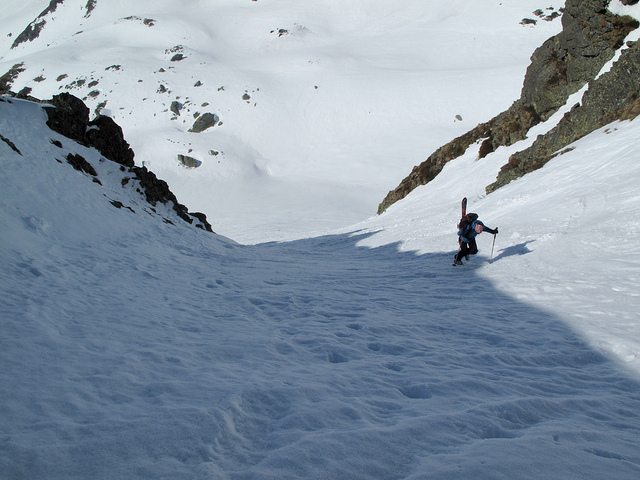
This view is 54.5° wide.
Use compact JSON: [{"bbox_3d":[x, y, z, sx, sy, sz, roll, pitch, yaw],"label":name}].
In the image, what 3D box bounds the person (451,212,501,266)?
[{"bbox_3d":[5.330,0.006,21.003,1.575,1.627,1.119,-29,50,-22],"label":"person"}]
